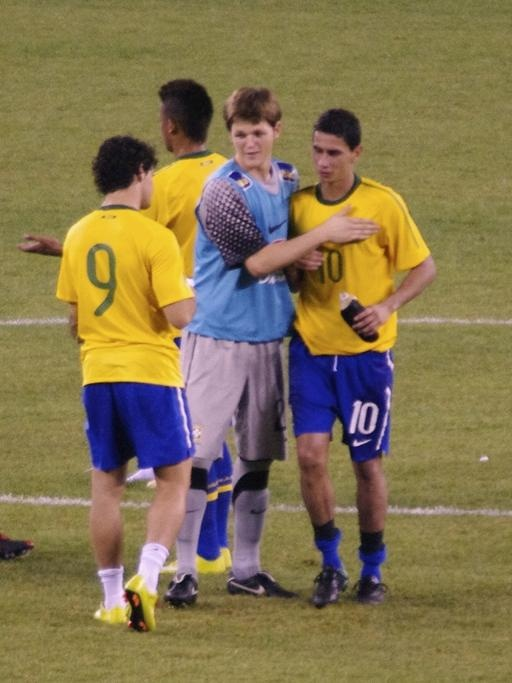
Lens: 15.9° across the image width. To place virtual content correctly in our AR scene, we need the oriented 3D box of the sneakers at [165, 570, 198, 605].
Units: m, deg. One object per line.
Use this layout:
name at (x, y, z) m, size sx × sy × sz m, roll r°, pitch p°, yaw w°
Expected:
sneakers at (-0.350, 1.177, 8.656) m, size 0.097 × 0.174 × 0.167 m, roll 8°, pitch -22°, yaw 18°

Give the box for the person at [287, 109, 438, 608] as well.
person at (0.468, 0.085, 8.754) m, size 0.672 × 2.300 × 0.678 m, roll 2°, pitch 13°, yaw 8°

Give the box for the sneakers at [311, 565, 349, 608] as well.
sneakers at (0.342, 1.169, 8.690) m, size 0.086 × 0.127 × 0.248 m, roll -1°, pitch 14°, yaw 17°

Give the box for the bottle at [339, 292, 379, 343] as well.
bottle at (0.486, -0.126, 8.662) m, size 0.087 × 0.262 × 0.120 m, roll -38°, pitch 15°, yaw 8°

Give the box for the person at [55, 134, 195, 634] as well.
person at (-0.538, 0.207, 8.284) m, size 0.553 × 2.141 × 0.875 m, roll -4°, pitch 14°, yaw -17°

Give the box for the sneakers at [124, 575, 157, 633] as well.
sneakers at (-0.486, 1.153, 8.109) m, size 0.095 × 0.294 × 0.154 m, roll 1°, pitch 25°, yaw 25°

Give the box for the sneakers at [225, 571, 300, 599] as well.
sneakers at (0.027, 1.192, 8.857) m, size 0.323 × 0.141 × 0.127 m, roll 1°, pitch -9°, yaw 10°

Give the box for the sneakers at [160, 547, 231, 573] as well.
sneakers at (-0.297, 1.094, 9.229) m, size 0.350 × 0.168 × 0.127 m, roll 2°, pitch -3°, yaw -17°
